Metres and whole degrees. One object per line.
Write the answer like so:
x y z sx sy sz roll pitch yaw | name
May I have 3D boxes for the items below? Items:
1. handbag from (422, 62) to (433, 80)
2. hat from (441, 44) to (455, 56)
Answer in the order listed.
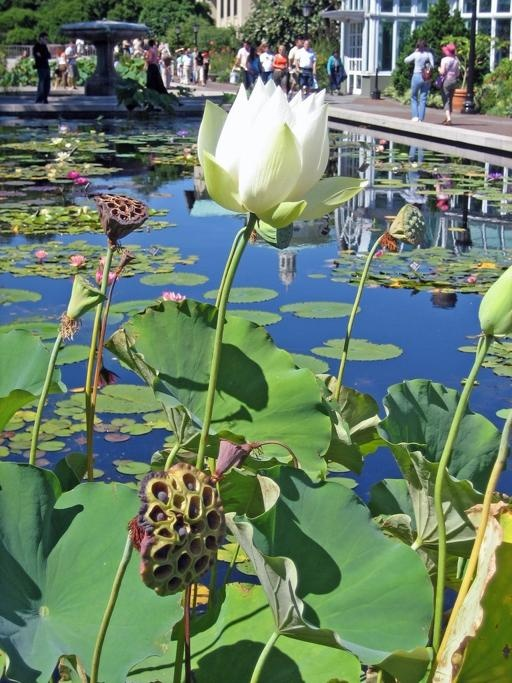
3.288 -5.290 14.138 0.281 0.340 0.162 17 35 30 | handbag
3.670 -5.676 13.999 0.207 0.210 0.454 4 11 14 | hat
